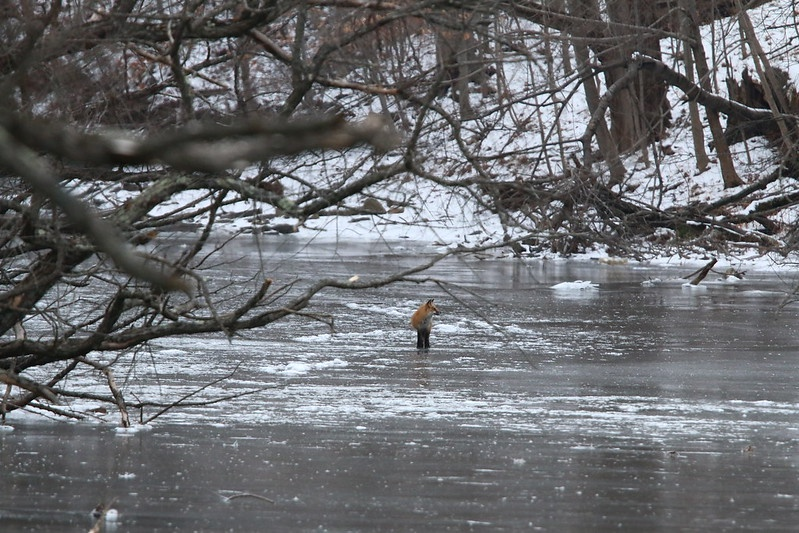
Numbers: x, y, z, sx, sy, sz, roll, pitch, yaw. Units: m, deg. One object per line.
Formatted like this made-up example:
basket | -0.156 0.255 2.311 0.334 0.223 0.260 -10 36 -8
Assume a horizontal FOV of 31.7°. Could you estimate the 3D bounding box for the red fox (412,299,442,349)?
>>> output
red fox | 0.528 1.126 29.407 0.513 0.987 0.874 1 7 1
